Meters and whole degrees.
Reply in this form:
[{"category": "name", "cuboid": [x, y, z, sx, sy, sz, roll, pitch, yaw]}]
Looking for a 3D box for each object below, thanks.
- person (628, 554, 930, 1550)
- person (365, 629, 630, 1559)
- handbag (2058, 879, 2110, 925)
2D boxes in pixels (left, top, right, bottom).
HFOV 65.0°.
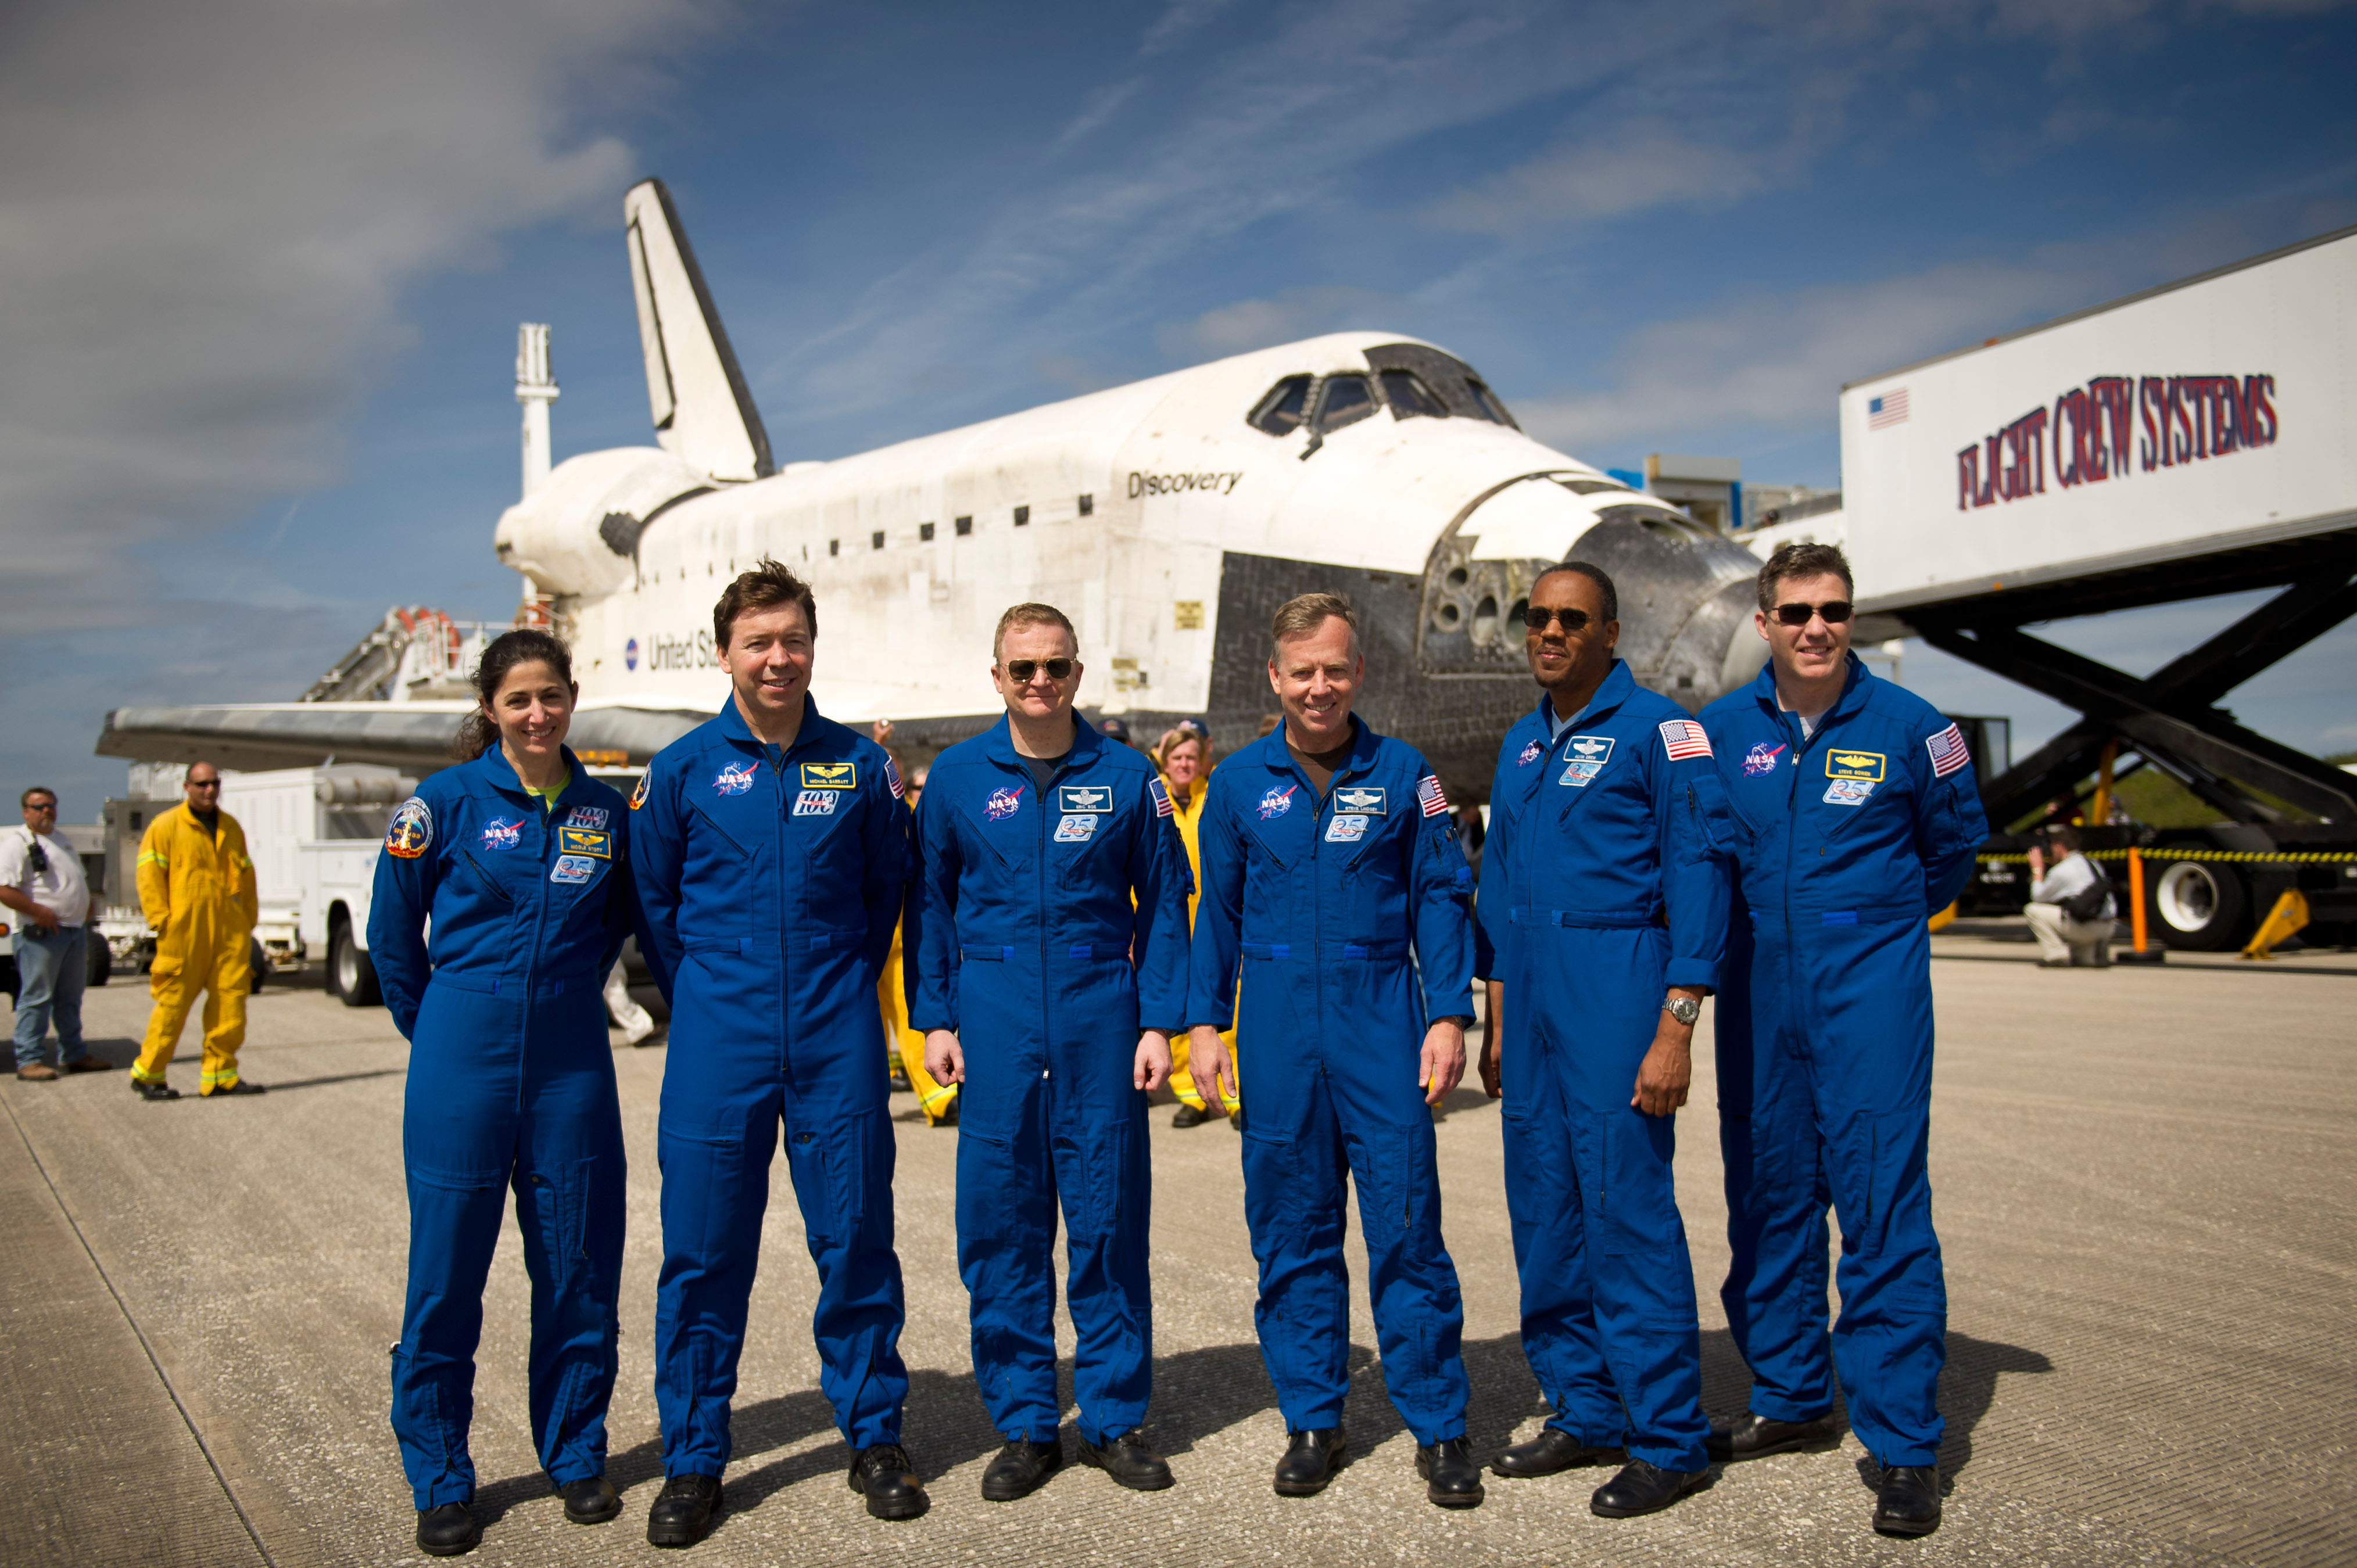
[{"category": "person", "cuboid": [-1.586, 0.944, 7.214, 1.119, 3.520, 1.204, -3, 11, -8]}, {"category": "person", "cuboid": [-2.574, 1.100, 7.144, 1.014, 3.283, 1.097, -5, 11, -16]}, {"category": "handbag", "cuboid": [8.988, 1.144, 18.202, 0.493, 0.427, 0.322, -2, 11, -6]}]
